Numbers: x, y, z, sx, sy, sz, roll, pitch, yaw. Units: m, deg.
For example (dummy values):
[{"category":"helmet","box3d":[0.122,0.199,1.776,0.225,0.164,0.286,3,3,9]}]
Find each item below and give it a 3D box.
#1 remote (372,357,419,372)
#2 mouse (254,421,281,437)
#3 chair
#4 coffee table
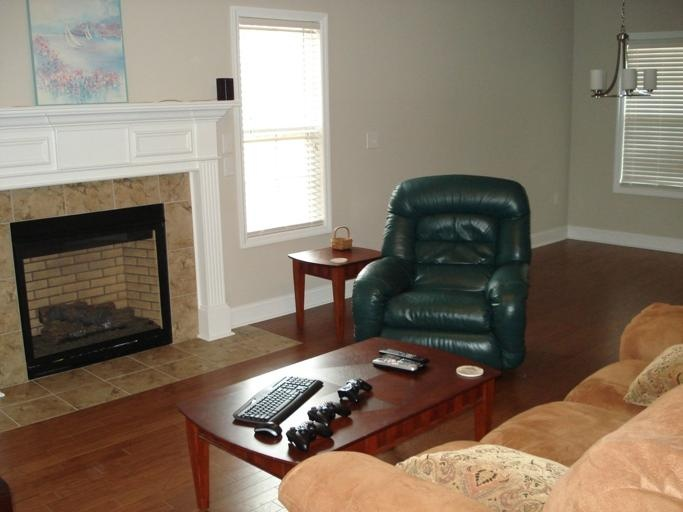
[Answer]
[{"category":"remote","box3d":[0.284,0.553,2.634,0.153,0.019,0.085,5,12,26]},{"category":"mouse","box3d":[-0.288,0.690,2.079,0.089,0.026,0.049,6,10,26]},{"category":"chair","box3d":[0.793,0.102,3.754,1.292,1.088,1.173,12,29,40]},{"category":"coffee table","box3d":[-0.156,0.313,4.508,0.647,0.476,0.607,4,1,-36]}]
